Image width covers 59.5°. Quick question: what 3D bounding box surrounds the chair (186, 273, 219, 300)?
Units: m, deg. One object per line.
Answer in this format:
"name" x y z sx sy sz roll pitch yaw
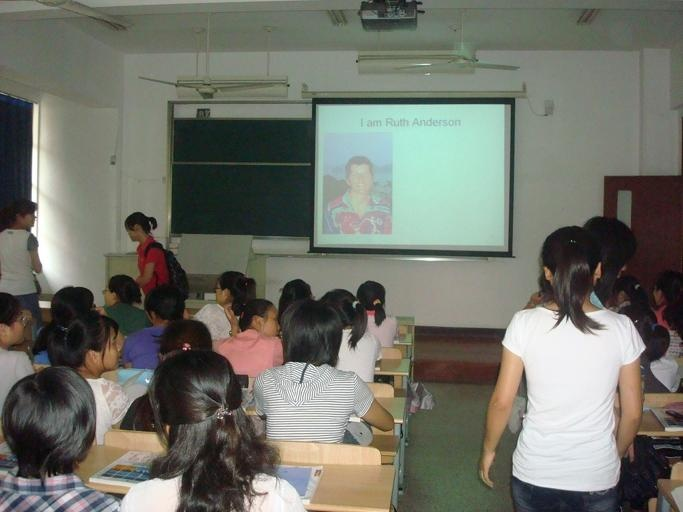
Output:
"chair" -1.641 0.339 7.053 0.434 0.355 0.237 5 -5 3

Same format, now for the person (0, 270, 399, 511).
"person" -0.622 0.611 2.743 1.108 0.466 0.748 4 10 6

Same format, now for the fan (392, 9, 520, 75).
"fan" 0.918 -2.089 6.067 1.673 0.687 0.576 4 0 13

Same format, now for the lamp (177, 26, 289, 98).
"lamp" -1.222 -2.283 6.985 0.894 0.855 0.586 1 7 1

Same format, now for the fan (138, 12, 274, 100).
"fan" -1.231 -1.845 6.367 1.234 1.185 1.267 2 9 1
